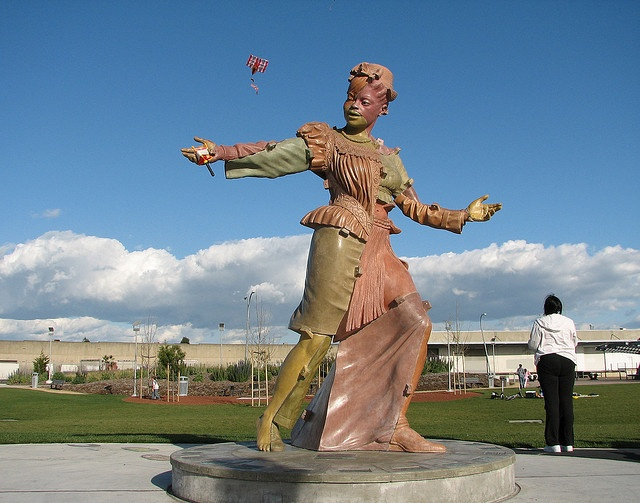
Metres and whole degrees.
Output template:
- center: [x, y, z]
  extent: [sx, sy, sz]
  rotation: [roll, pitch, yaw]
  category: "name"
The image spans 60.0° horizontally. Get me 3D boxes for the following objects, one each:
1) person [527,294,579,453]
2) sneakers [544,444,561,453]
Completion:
- center: [3.160, 1.754, 7.455]
  extent: [0.611, 1.799, 0.373]
  rotation: [-3, -10, 18]
  category: "person"
- center: [3.046, 2.593, 7.285]
  extent: [0.081, 0.103, 0.215]
  rotation: [-1, 2, -17]
  category: "sneakers"
